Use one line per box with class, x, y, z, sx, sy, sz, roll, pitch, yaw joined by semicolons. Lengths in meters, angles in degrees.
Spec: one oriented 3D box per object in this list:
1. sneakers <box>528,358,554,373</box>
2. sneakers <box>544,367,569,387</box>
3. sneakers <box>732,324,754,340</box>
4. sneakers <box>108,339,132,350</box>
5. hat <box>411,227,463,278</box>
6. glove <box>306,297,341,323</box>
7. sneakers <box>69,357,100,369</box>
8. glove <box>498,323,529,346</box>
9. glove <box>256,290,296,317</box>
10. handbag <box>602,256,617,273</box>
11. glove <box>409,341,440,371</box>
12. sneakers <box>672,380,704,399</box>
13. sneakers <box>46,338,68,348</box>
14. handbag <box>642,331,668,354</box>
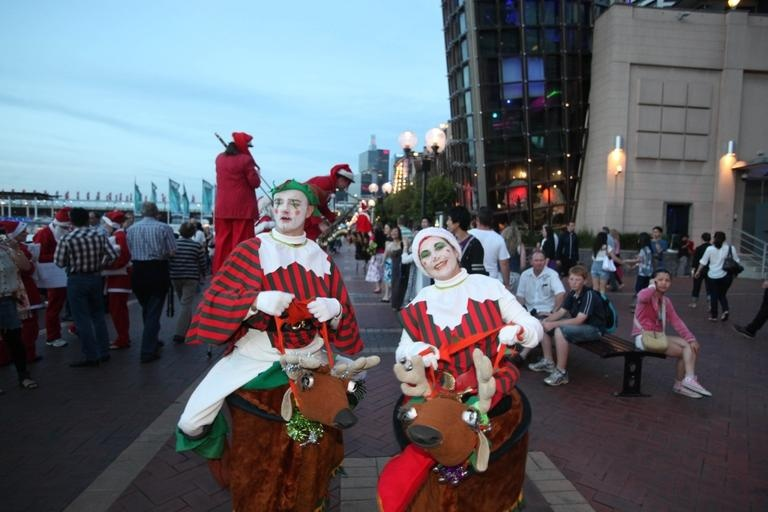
sneakers;2.464;1.723;8.085;0.380;0.207;0.172;1;5;10
sneakers;2.531;1.807;7.616;0.461;0.235;0.176;4;-4;-33
sneakers;7.074;1.483;10.109;0.397;0.177;0.146;37;43;29
sneakers;-4.560;1.534;8.873;0.365;0.265;0.142;8;-6;-35
hat;0.458;-0.044;4.615;0.380;0.467;0.206;-28;-1;14
glove;-0.491;0.466;4.412;0.336;0.229;0.153;-8;10;-43
sneakers;-4.603;1.650;7.976;0.450;0.197;0.158;6;-3;-14
glove;1.060;0.653;4.236;0.190;0.161;0.092;3;28;-3
glove;-0.937;0.405;4.329;0.330;0.232;0.147;1;8;19
handbag;5.777;0.187;13.220;0.341;0.345;0.140;14;-20;-37
glove;0.346;0.844;4.312;0.239;0.200;0.307;-5;8;-26
sneakers;4.260;1.892;7.233;0.139;0.188;0.401;-3;0;-43
sneakers;-5.714;1.506;9.030;0.358;0.169;0.148;-4;0;-2
handbag;3.779;1.211;7.200;0.267;0.289;0.097;6;4;-6
